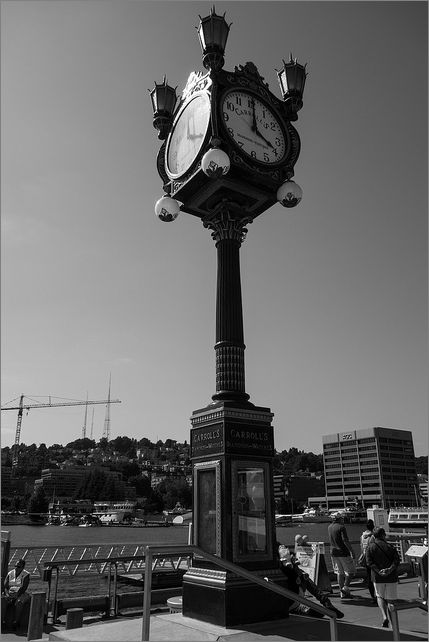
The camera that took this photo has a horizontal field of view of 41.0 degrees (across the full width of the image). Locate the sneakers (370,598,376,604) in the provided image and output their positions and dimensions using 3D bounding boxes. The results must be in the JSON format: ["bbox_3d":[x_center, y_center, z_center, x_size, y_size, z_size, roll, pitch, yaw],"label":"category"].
[{"bbox_3d":[3.215,5.804,11.707,0.081,0.126,0.121,1,-28,3],"label":"sneakers"}]

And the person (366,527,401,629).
[{"bbox_3d":[2.681,4.129,9.112,0.497,1.457,0.820,-5,-21,17],"label":"person"}]

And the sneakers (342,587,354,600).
[{"bbox_3d":[2.860,6.027,12.430,0.136,0.162,0.389,-9,-60,28],"label":"sneakers"}]

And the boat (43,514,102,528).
[{"bbox_3d":[-45.188,64.484,182.514,20.520,3.736,9.014,-11,-24,29],"label":"boat"}]
